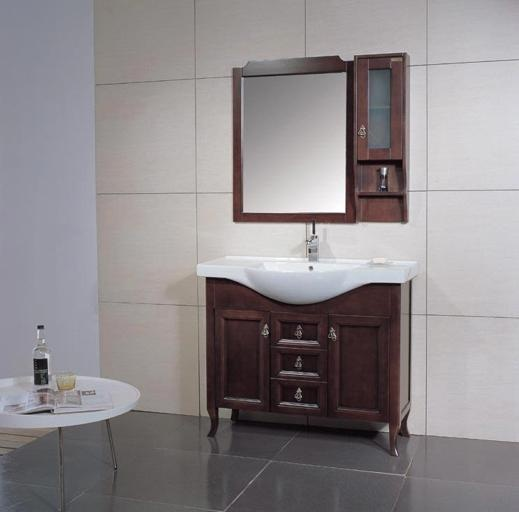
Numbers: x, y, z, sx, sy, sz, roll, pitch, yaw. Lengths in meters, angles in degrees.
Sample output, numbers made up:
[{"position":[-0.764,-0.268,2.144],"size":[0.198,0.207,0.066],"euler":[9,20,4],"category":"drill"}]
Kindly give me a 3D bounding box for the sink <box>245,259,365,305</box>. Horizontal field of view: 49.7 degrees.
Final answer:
[{"position":[0.226,0.130,2.707],"size":[0.571,0.192,0.385],"euler":[1,3,21],"category":"sink"}]

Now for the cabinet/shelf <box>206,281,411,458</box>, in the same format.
[{"position":[0.238,0.516,2.680],"size":[0.643,0.681,0.305],"euler":[1,1,20],"category":"cabinet/shelf"}]

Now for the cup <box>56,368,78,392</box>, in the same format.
[{"position":[-0.778,0.508,2.260],"size":[0.065,0.067,0.057],"euler":[-1,-2,12],"category":"cup"}]

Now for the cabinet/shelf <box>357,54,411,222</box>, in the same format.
[{"position":[0.621,-0.588,2.846],"size":[0.277,0.830,0.166],"euler":[1,3,18],"category":"cabinet/shelf"}]

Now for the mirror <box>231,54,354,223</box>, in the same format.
[{"position":[0.195,-0.635,3.170],"size":[0.659,1.046,0.047],"euler":[-1,42,3],"category":"mirror"}]
